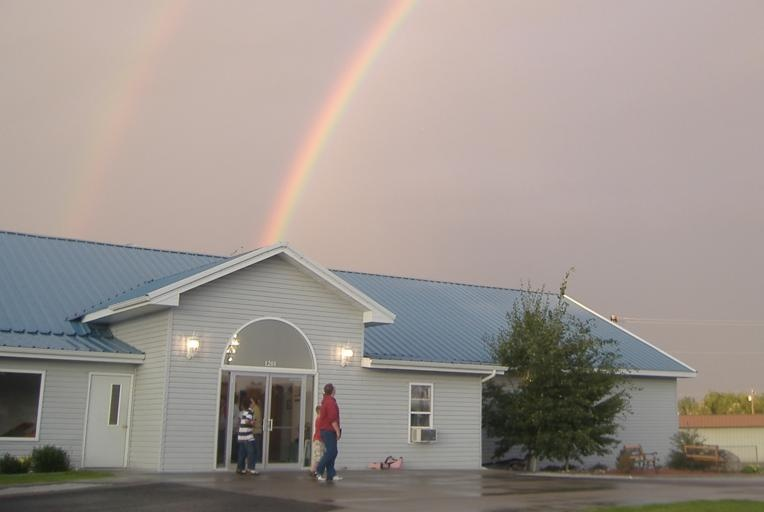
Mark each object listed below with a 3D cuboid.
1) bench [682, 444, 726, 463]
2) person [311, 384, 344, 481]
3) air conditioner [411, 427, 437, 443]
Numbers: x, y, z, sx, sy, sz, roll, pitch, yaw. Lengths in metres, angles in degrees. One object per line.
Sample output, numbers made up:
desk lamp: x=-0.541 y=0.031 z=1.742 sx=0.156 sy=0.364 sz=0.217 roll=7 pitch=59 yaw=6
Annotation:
bench: x=14.600 y=8.898 z=41.363 sx=1.751 sy=0.821 sz=2.546 roll=1 pitch=0 yaw=27
person: x=-1.680 y=5.494 z=28.463 sx=0.732 sy=3.071 sz=0.962 roll=1 pitch=1 yaw=-4
air conditioner: x=1.595 y=6.790 z=34.881 sx=1.014 sy=0.647 sz=0.538 roll=1 pitch=-3 yaw=-5
